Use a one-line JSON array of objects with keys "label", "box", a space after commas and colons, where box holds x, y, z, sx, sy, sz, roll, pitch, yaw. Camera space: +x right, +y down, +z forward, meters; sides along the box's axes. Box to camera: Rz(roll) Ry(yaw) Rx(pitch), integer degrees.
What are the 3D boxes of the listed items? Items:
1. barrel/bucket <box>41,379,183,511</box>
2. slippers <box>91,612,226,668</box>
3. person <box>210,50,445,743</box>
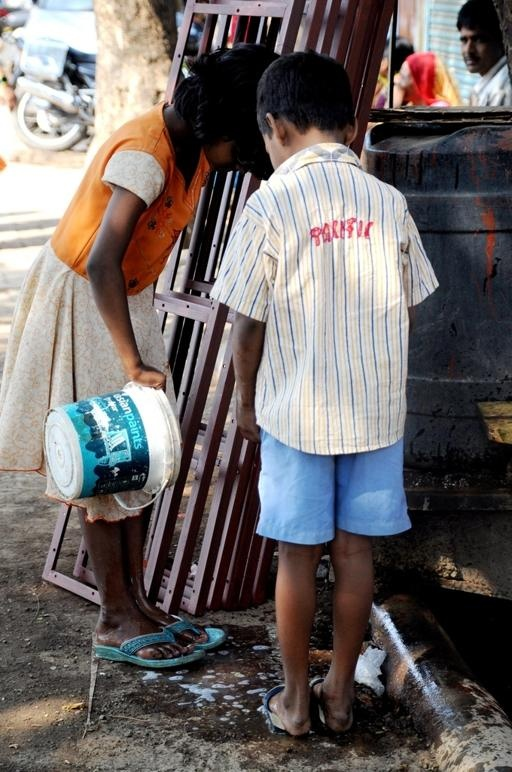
[{"label": "barrel/bucket", "box": [-0.327, 0.142, 1.893, 0.267, 0.294, 0.304, -14, 0, -24]}, {"label": "slippers", "box": [-0.280, 0.686, 2.024, 0.211, 0.049, 0.151, -3, 9, 20]}, {"label": "person", "box": [0.130, 0.074, 1.609, 0.452, 1.333, 0.831, 5, 38, 12]}]
